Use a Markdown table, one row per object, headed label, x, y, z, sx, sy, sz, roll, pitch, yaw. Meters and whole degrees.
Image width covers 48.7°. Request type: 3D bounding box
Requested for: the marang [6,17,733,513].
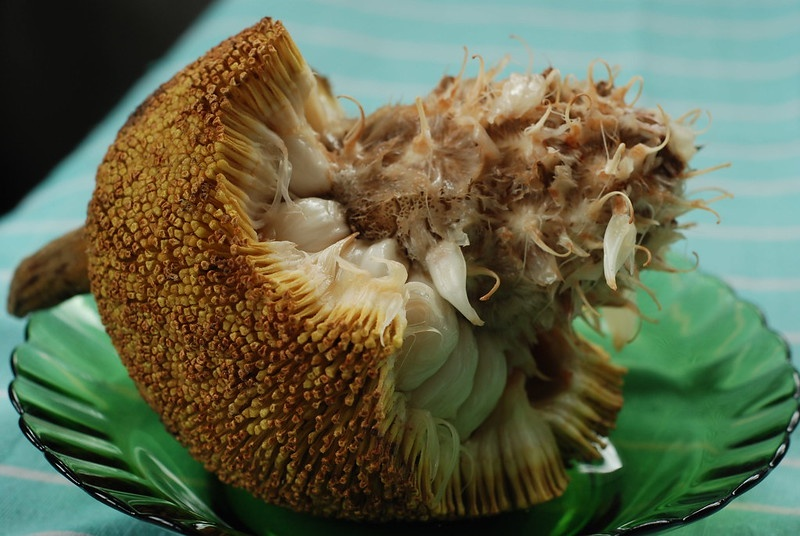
| label | x | y | z | sx | sy | sz | roll | pitch | yaw |
| --- | --- | --- | --- | --- | --- | --- | --- | --- | --- |
| marang | -0.023 | 0.032 | 1.196 | 0.767 | 0.439 | 0.592 | 1 | 7 | 27 |
